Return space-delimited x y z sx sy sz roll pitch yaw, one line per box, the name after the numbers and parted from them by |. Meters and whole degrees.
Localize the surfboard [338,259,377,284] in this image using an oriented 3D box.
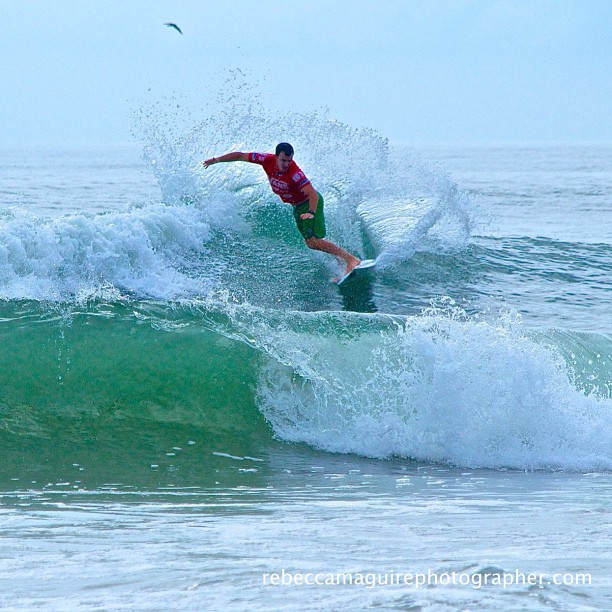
0.504 -0.345 10.012 0.143 0.039 0.537 27 31 19 | surfboard
